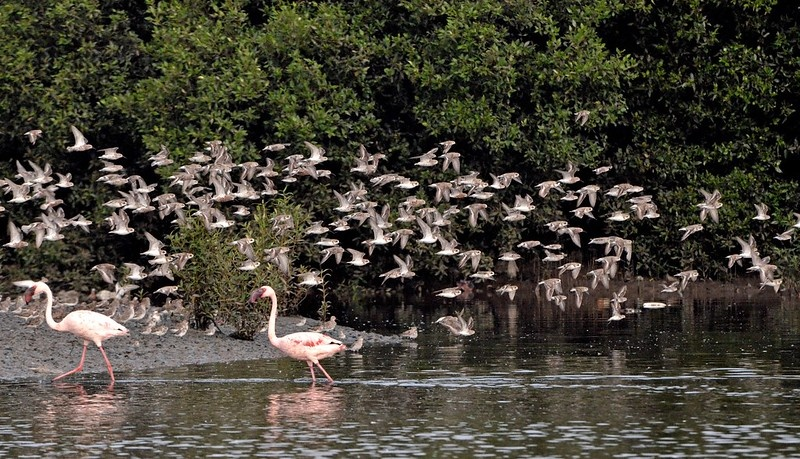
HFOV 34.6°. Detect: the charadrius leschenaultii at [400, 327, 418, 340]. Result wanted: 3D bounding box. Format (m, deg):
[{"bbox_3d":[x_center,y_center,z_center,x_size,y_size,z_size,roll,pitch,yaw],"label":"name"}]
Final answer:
[{"bbox_3d":[0.301,3.067,37.101,0.499,0.306,0.266,4,-1,-10],"label":"charadrius leschenaultii"}]
